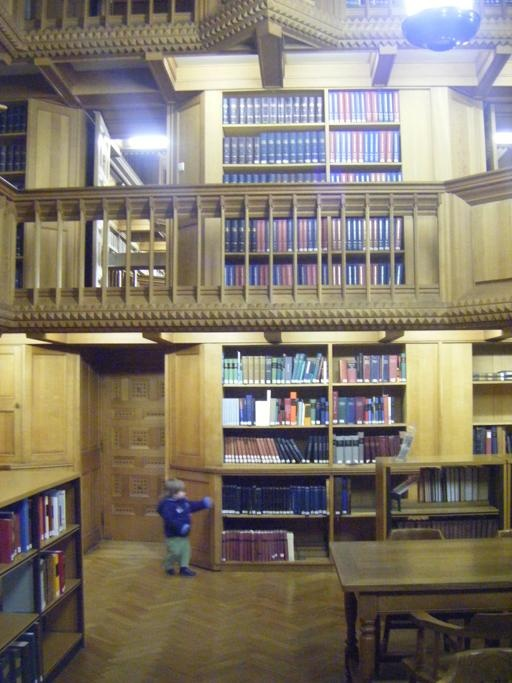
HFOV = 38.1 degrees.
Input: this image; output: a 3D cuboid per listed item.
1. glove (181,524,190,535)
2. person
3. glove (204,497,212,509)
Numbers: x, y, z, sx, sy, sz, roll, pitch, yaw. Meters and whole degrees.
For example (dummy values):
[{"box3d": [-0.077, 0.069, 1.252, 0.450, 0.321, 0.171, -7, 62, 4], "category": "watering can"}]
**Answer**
[{"box3d": [-0.582, 1.519, 6.029, 0.051, 0.099, 0.069, 9, 16, 9], "category": "glove"}, {"box3d": [-0.590, 1.558, 6.157, 0.433, 0.779, 0.354, 0, 1, -9], "category": "person"}, {"box3d": [-0.407, 1.332, 6.149, 0.060, 0.078, 0.107, -7, 2, 5], "category": "glove"}]
